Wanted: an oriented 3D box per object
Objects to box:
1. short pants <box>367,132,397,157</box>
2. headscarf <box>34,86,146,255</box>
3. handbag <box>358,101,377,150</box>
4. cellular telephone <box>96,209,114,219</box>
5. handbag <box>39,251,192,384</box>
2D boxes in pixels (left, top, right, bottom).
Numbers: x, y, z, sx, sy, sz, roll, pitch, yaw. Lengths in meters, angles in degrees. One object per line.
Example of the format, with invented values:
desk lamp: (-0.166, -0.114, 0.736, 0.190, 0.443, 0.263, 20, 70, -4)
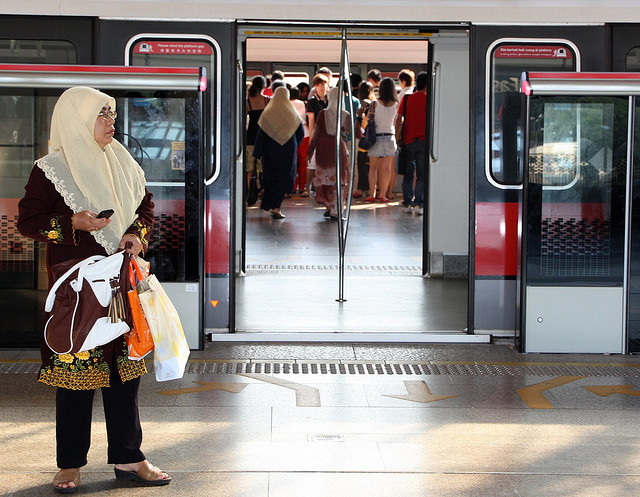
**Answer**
short pants: (1.238, -2.029, 13.036, 0.699, 0.615, 0.392, -1, 12, -6)
headscarf: (-1.192, -0.405, 3.480, 0.416, 0.812, 0.616, 1, 9, 35)
handbag: (0.948, -2.420, 12.933, 0.284, 0.941, 0.474, -3, 11, -21)
cellular telephone: (-1.072, -0.172, 3.253, 0.060, 0.011, 0.105, 10, -33, -38)
handbag: (-1.122, 0.360, 3.433, 0.726, 0.680, 0.408, 3, -12, -42)
